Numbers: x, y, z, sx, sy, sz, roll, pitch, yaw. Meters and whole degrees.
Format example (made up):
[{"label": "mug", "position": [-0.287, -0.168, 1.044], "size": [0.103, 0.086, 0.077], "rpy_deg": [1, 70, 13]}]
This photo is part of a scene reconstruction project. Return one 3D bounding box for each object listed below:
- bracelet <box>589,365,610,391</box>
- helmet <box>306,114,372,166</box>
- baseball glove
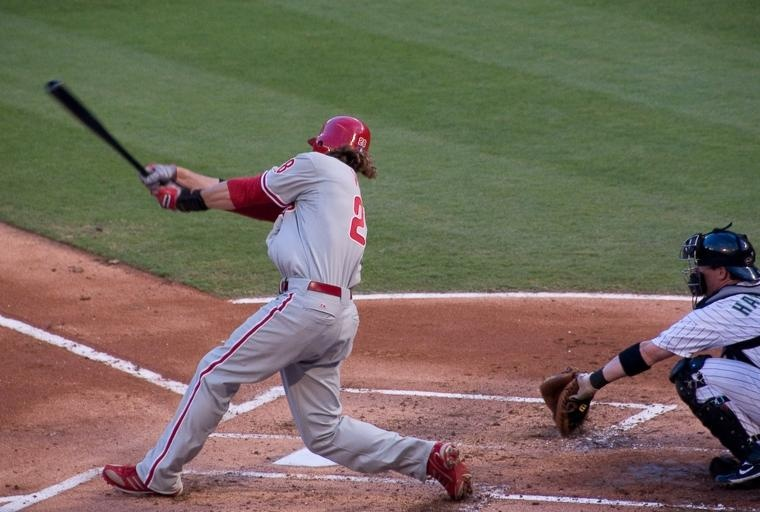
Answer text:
[{"label": "bracelet", "position": [2.023, 1.148, 10.955], "size": [0.232, 0.155, 0.192], "rpy_deg": [-4, 21, -10]}, {"label": "helmet", "position": [-0.388, -1.032, 10.764], "size": [0.606, 0.397, 0.401], "rpy_deg": [4, -4, 19]}, {"label": "baseball glove", "position": [1.760, 1.380, 11.054], "size": [0.493, 0.611, 0.320], "rpy_deg": [1, -1, -3]}]
